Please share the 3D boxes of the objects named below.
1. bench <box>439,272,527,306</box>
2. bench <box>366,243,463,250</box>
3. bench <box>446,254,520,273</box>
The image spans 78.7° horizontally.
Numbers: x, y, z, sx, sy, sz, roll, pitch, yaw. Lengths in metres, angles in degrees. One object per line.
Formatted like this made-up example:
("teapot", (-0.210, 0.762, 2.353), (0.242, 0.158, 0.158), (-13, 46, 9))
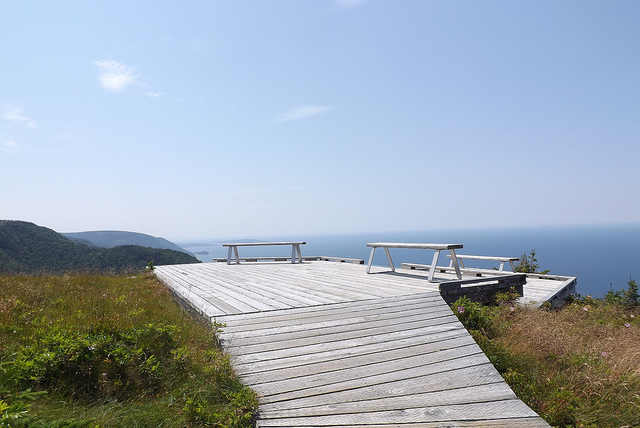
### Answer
("bench", (3.546, 1.635, 8.694), (1.162, 0.240, 1.050), (-5, 0, -21))
("bench", (2.129, 0.733, 9.159), (2.108, 0.145, 0.695), (0, -3, 41))
("bench", (4.476, 1.315, 10.776), (1.646, 0.375, 2.050), (1, -3, 24))
